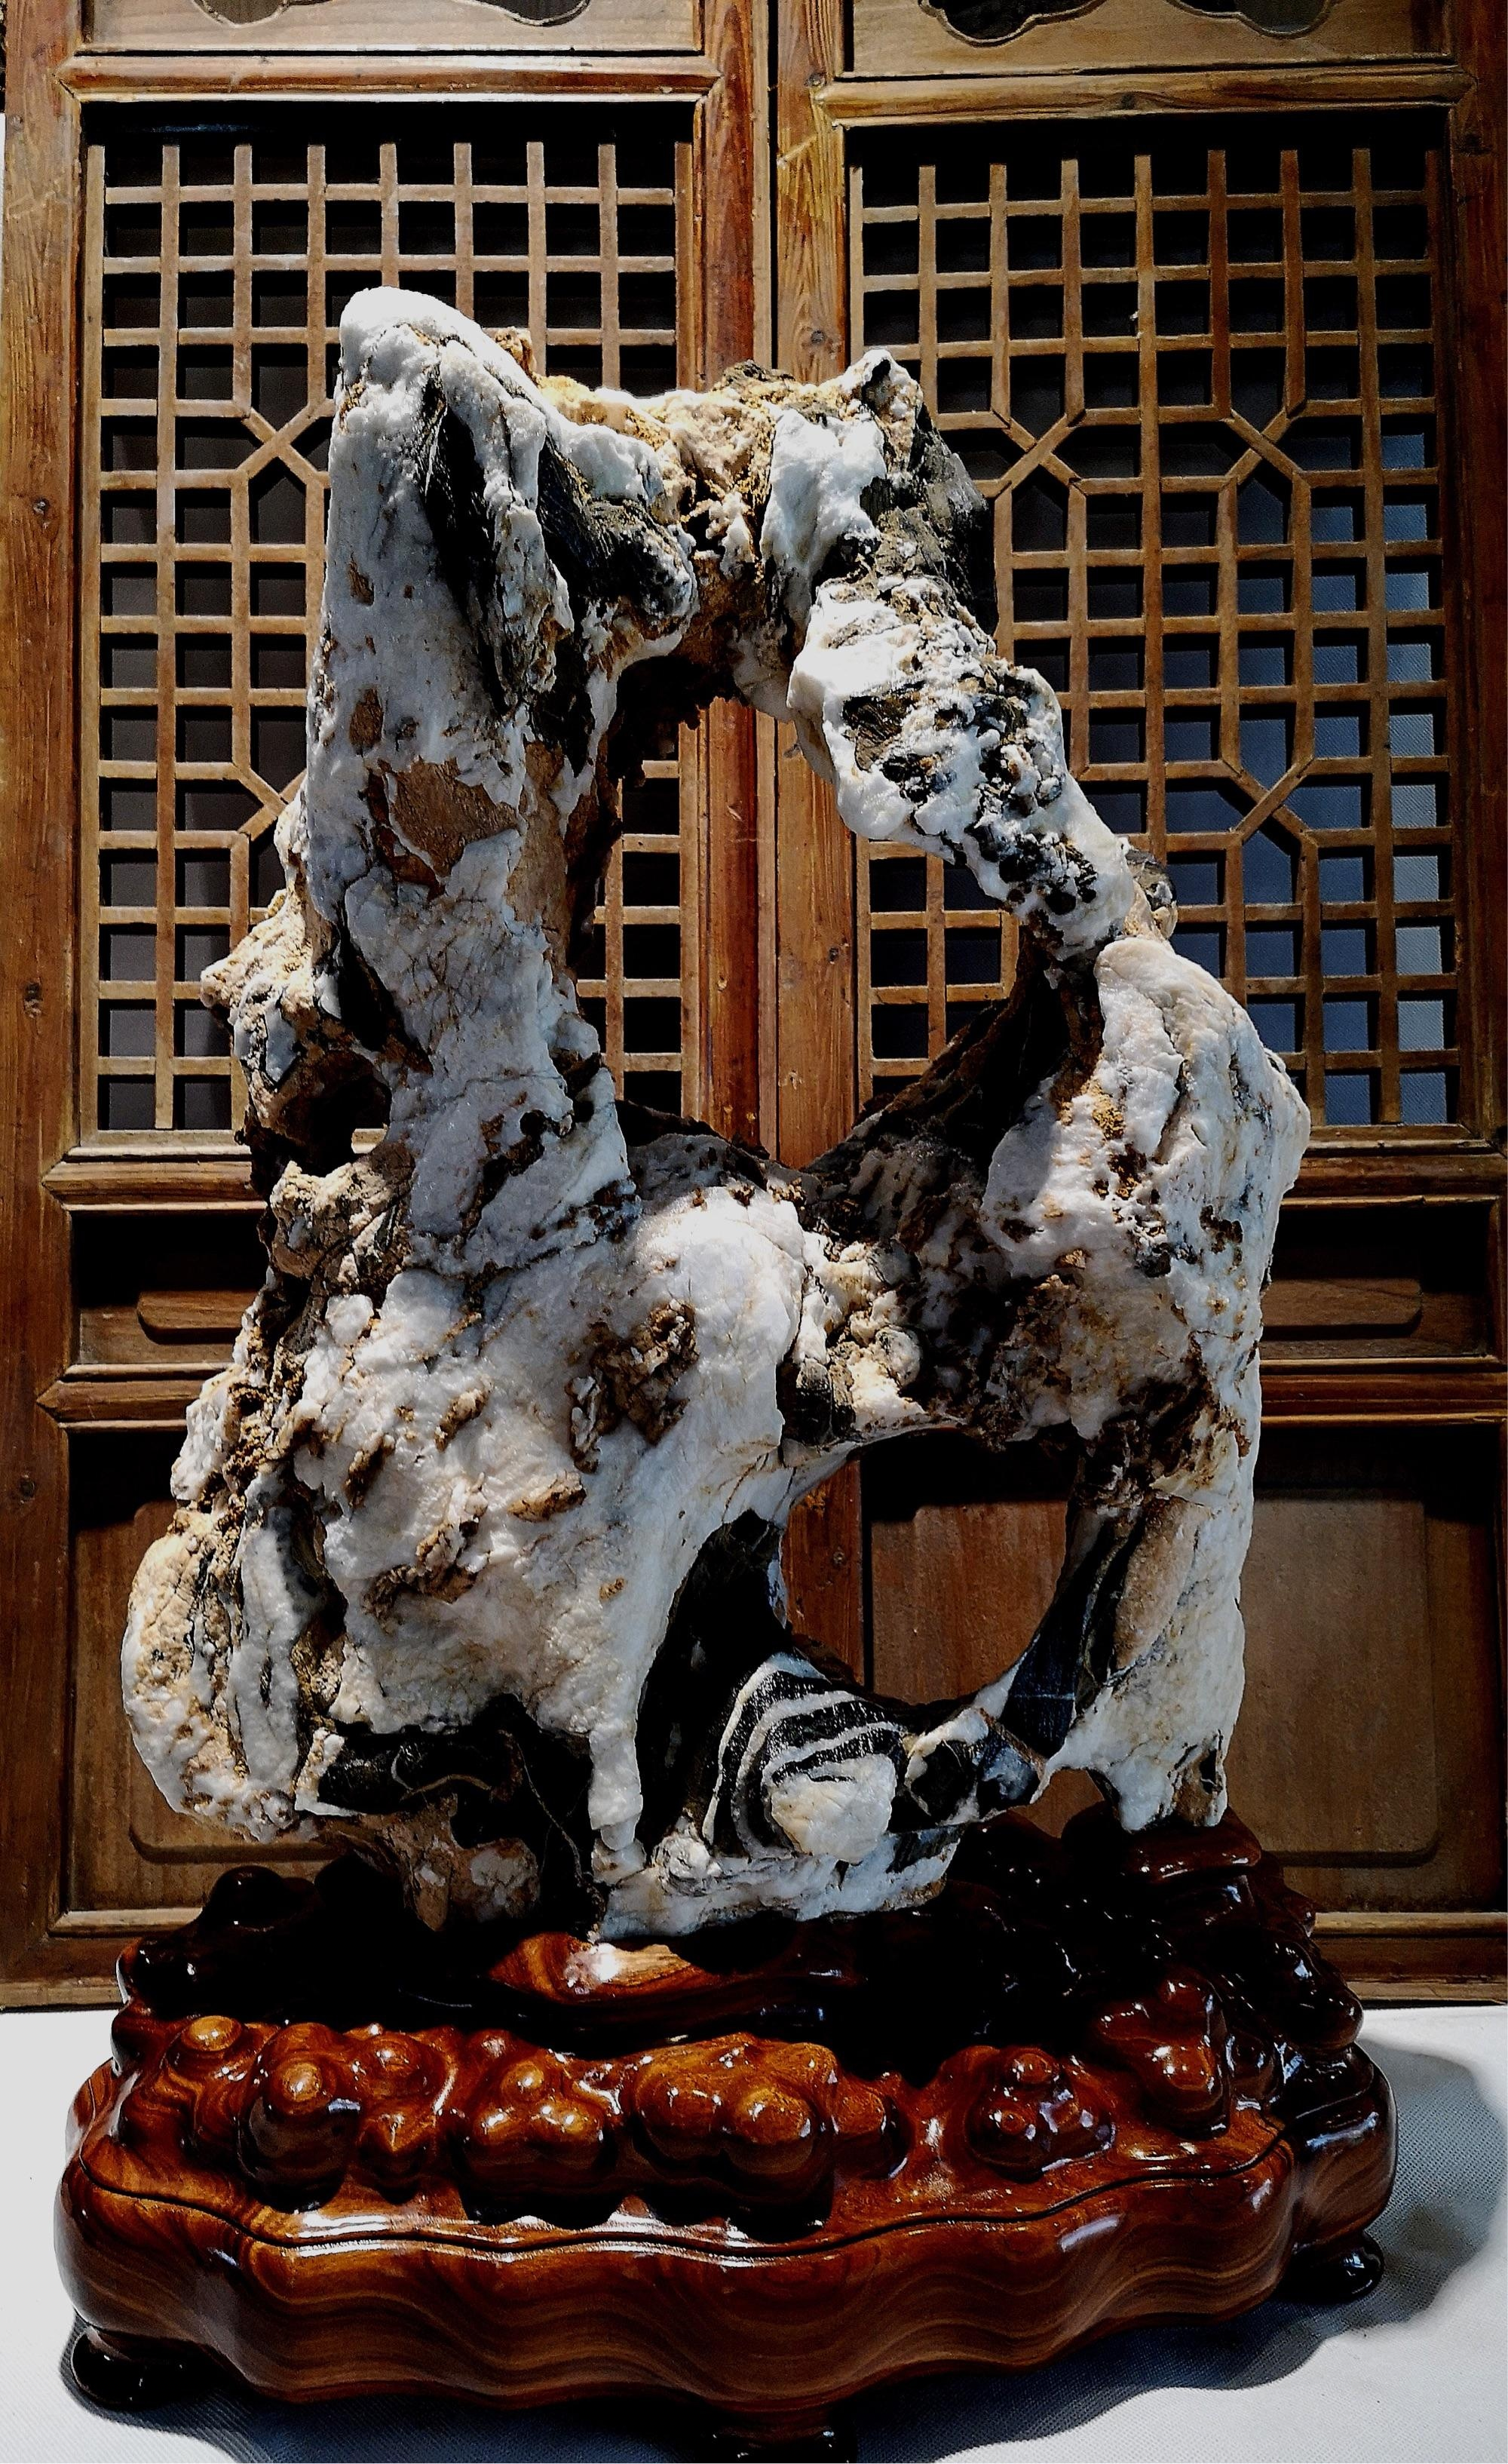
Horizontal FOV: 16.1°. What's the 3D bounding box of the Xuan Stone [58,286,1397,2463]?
[{"bbox_3d":[0.000,0.022,3.281,0.786,1.339,0.797,-2,36,-3],"label":"Xuan Stone"}]
